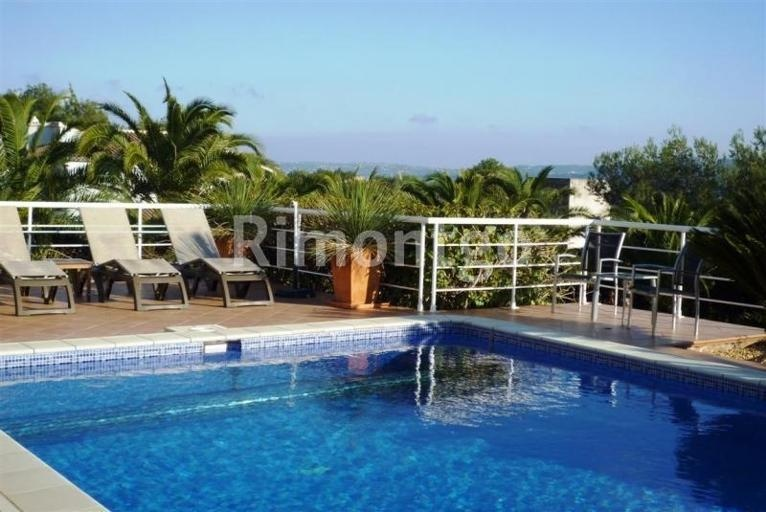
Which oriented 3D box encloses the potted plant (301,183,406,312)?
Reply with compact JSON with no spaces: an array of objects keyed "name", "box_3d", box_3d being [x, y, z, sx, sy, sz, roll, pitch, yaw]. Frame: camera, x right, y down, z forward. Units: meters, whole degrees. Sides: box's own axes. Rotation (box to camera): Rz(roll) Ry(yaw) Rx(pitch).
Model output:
[{"name":"potted plant","box_3d":[-0.371,-0.215,10.359,1.197,1.961,0.908,-1,12,-8]}]
